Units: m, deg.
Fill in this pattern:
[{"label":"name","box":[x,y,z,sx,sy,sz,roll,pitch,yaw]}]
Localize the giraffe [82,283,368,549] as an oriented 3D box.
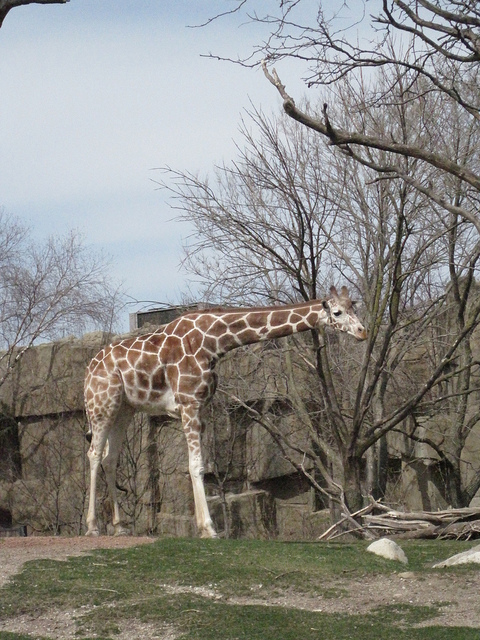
[{"label":"giraffe","box":[-0.495,1.123,13.615,2.815,2.620,1.063,0,2,30]}]
